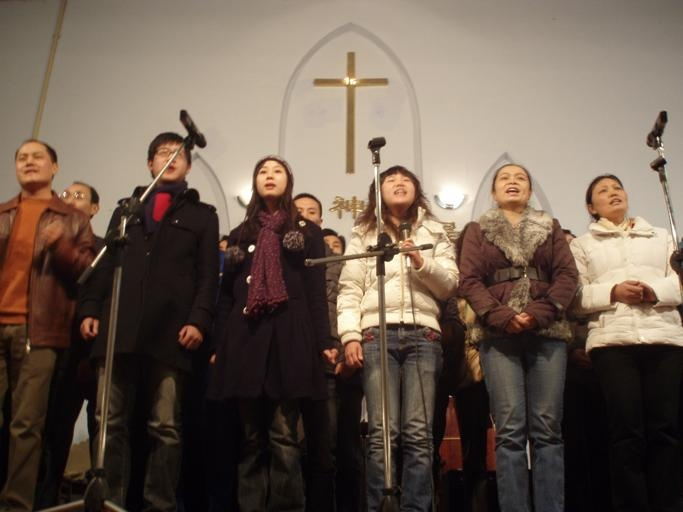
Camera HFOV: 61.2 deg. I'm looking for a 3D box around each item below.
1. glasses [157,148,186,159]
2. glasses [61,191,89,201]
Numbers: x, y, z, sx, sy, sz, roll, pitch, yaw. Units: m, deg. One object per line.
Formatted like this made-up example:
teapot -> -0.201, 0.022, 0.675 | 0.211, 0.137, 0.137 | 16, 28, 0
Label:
glasses -> -1.056, -0.630, 3.565 | 0.111, 0.038, 0.120 | -1, -26, -12
glasses -> -2.163, -0.486, 4.669 | 0.110, 0.050, 0.124 | -2, -35, 3
